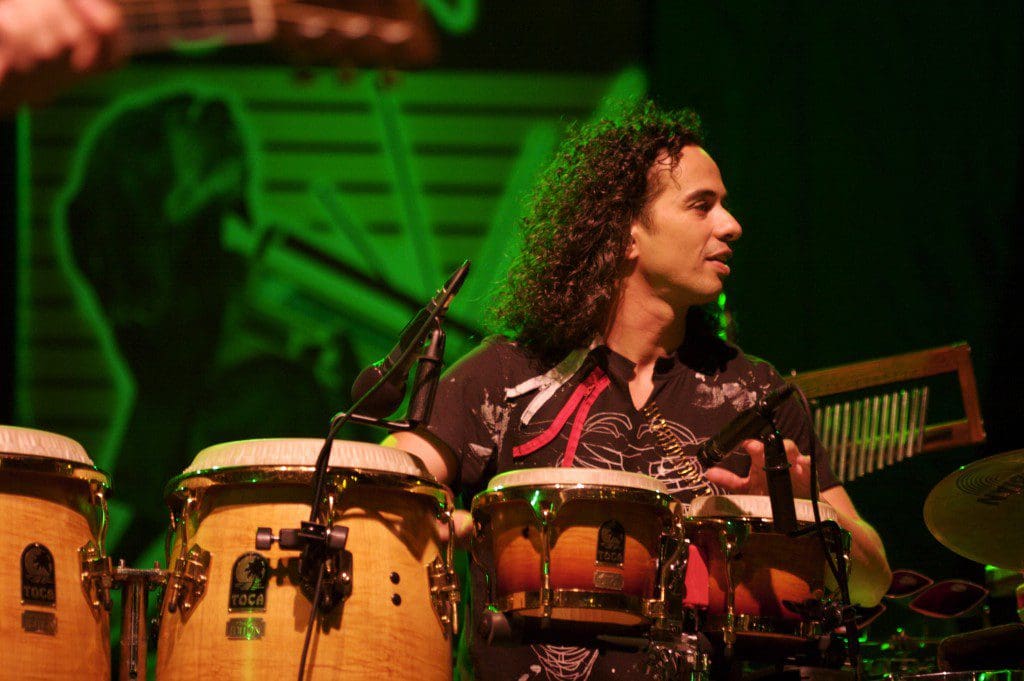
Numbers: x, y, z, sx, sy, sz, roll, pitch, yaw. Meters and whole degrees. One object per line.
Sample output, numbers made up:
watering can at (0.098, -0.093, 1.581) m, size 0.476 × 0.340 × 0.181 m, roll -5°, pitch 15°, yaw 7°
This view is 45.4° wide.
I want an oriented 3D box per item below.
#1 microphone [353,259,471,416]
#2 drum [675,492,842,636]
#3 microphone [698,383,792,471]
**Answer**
microphone at (-0.389, -0.008, 4.549) m, size 0.215 × 0.740 × 0.230 m, roll 42°, pitch 0°, yaw 4°
drum at (0.766, 0.699, 3.830) m, size 0.482 × 0.321 × 0.438 m, roll -1°, pitch -15°, yaw 10°
microphone at (0.763, 0.291, 4.028) m, size 0.142 × 0.091 × 0.360 m, roll 32°, pitch -55°, yaw -30°
